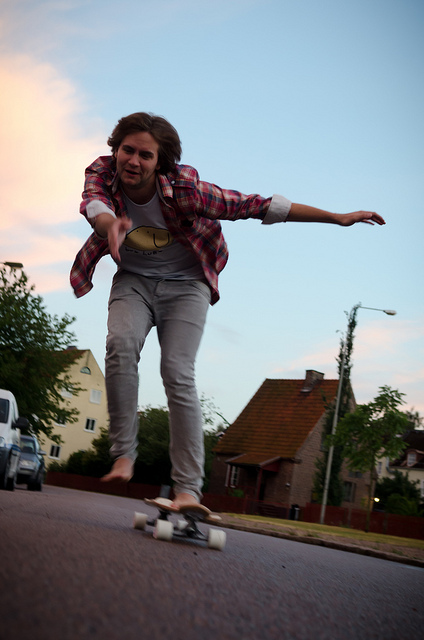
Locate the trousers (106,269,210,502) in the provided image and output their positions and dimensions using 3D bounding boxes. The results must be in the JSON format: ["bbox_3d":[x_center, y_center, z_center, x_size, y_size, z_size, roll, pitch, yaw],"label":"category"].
[{"bbox_3d":[-0.343,0.364,2.645,0.737,1.388,0.306,10,-9,-13],"label":"trousers"}]
